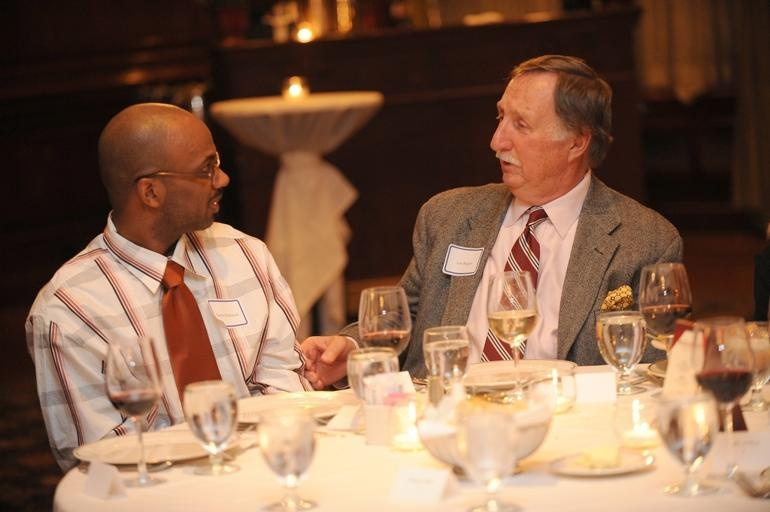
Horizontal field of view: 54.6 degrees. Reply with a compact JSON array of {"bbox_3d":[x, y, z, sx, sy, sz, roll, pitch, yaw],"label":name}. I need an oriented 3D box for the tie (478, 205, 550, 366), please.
[{"bbox_3d":[0.501,0.042,2.703,0.150,0.671,0.069,14,-35,8],"label":"tie"}]

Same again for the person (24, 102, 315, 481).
[{"bbox_3d":[-0.683,0.256,2.505,0.918,1.405,0.730,-6,-5,-40],"label":"person"}]
